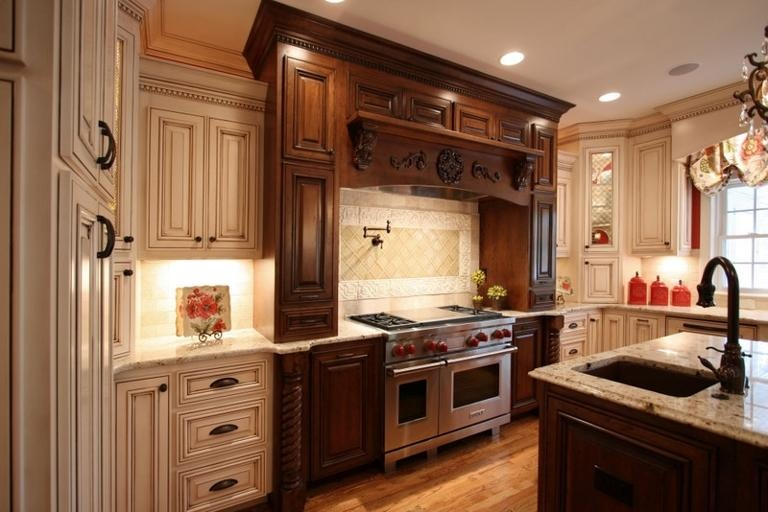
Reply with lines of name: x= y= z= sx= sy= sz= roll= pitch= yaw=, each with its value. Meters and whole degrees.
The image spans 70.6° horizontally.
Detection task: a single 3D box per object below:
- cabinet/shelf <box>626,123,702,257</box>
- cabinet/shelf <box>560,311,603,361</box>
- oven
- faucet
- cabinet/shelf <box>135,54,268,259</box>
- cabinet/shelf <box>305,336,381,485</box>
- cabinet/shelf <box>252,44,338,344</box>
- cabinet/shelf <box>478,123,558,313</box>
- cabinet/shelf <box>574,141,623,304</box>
cabinet/shelf: x=2.759 y=-0.630 z=5.422 sx=0.711 sy=1.279 sz=0.454 roll=7 pitch=17 yaw=24
cabinet/shelf: x=1.836 y=0.757 z=5.107 sx=0.505 sy=0.482 sz=0.248 roll=-1 pitch=0 yaw=-35
oven: x=0.455 y=1.071 z=4.524 sx=1.444 sy=0.828 sz=0.753 roll=-3 pitch=7 yaw=-38
faucet: x=1.790 y=0.352 z=2.856 sx=0.301 sy=0.687 sz=0.306 roll=-15 pitch=21 yaw=-43
cabinet/shelf: x=-1.256 y=-0.652 z=3.763 sx=0.881 sy=1.345 sz=0.405 roll=-3 pitch=16 yaw=-13
cabinet/shelf: x=-0.109 y=1.217 z=4.117 sx=0.663 sy=1.086 sz=0.621 roll=-16 pitch=-30 yaw=23
cabinet/shelf: x=-0.554 y=-0.451 z=3.829 sx=0.451 sy=2.021 sz=0.737 roll=-1 pitch=15 yaw=-3
cabinet/shelf: x=1.266 y=-0.356 z=4.990 sx=0.672 sy=1.648 sz=0.674 roll=3 pitch=16 yaw=11
cabinet/shelf: x=2.273 y=-0.310 z=5.695 sx=0.423 sy=1.720 sz=0.342 roll=-1 pitch=6 yaw=15
